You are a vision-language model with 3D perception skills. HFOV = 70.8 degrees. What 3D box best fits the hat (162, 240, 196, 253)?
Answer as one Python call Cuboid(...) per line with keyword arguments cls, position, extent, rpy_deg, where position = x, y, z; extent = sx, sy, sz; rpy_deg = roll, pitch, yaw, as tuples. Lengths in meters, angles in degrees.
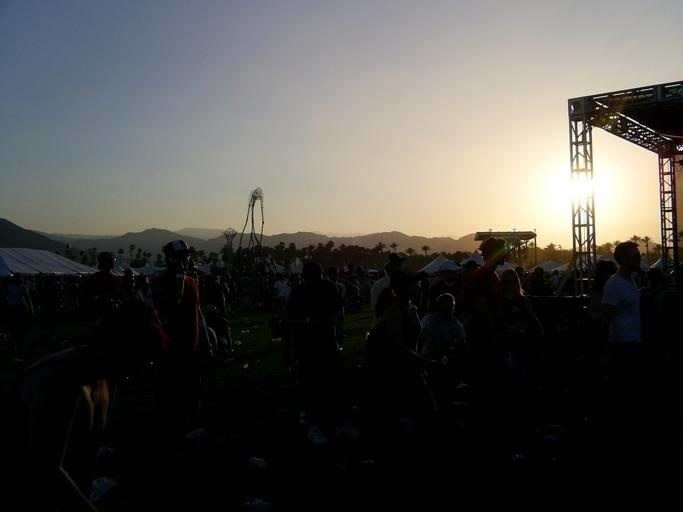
Cuboid(cls="hat", position=(-2.147, -0.121, 6.271), extent=(0.315, 0.183, 0.231), rpy_deg=(-9, 4, -10))
